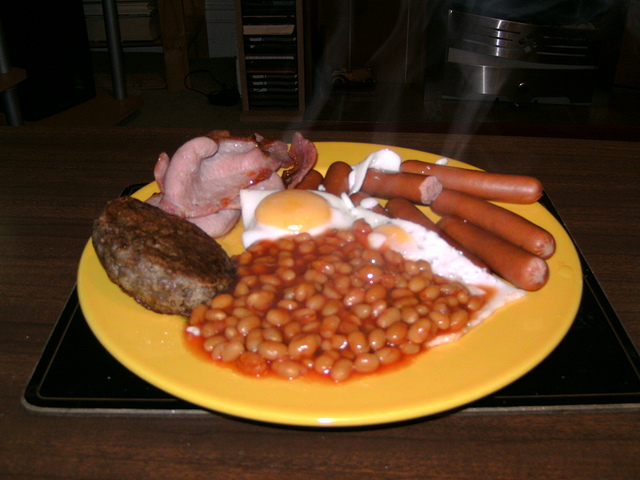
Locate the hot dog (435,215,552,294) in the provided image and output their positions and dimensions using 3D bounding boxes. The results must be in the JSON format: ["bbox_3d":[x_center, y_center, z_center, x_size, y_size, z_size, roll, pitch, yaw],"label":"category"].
[{"bbox_3d":[0.484,0.038,1.501,0.109,0.105,0.390,-30,36,-10],"label":"hot dog"}]

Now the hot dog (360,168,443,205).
[{"bbox_3d":[0.240,-0.187,1.699,0.318,0.101,0.102,8,29,42],"label":"hot dog"}]
